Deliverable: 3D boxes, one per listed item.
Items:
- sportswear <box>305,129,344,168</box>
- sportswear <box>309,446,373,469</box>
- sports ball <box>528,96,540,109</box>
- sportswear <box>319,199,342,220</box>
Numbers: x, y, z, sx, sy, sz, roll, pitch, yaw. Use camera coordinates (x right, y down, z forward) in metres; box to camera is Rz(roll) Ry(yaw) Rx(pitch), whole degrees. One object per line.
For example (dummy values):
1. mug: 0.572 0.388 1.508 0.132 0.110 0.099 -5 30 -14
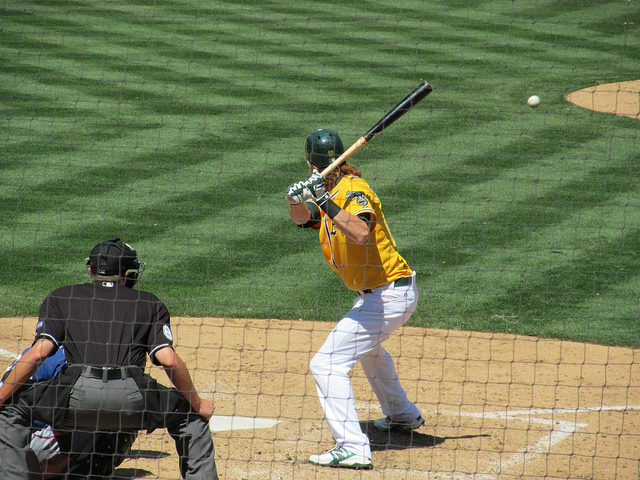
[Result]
1. sportswear: -0.017 -1.018 13.766 0.508 0.388 0.436 -14 27 -38
2. sportswear: 0.241 2.338 13.413 0.738 0.239 0.234 4 -2 3
3. sports ball: 3.586 -2.296 20.774 0.272 0.213 0.240 -2 10 6
4. sportswear: 0.126 -0.323 13.251 0.221 0.210 0.102 3 10 45
